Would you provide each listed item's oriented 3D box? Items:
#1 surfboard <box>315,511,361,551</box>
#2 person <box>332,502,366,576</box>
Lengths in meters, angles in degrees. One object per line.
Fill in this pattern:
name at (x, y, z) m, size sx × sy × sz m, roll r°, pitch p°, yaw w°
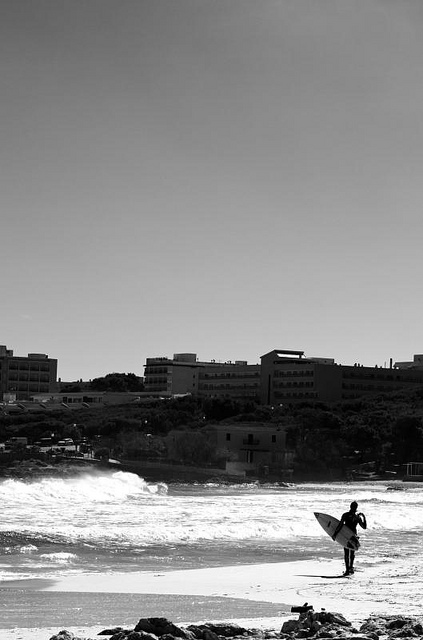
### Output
surfboard at (2.893, 4.884, 24.623) m, size 1.941 × 0.446 × 0.169 m, roll 42°, pitch -10°, yaw -34°
person at (2.901, 4.630, 22.486) m, size 0.670 × 1.495 × 2.159 m, roll 1°, pitch -11°, yaw 6°
